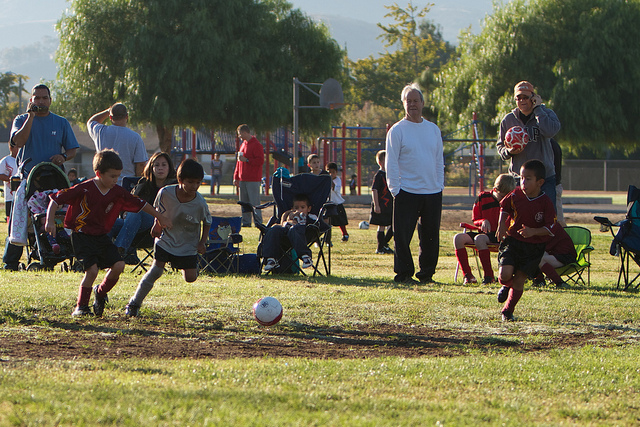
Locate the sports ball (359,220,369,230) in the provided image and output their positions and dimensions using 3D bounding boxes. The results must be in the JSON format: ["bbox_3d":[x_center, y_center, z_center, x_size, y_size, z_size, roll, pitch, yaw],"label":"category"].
[{"bbox_3d":[1.185,0.320,28.421,0.209,0.225,0.213,-14,-37,-10],"label":"sports ball"}]

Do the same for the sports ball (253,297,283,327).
[{"bbox_3d":[-0.822,1.588,17.067,0.411,0.473,0.417,3,-3,0],"label":"sports ball"}]

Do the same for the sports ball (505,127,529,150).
[{"bbox_3d":[3.615,-1.435,19.123,0.363,0.409,0.386,11,14,-3],"label":"sports ball"}]

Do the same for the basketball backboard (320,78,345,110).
[{"bbox_3d":[0.409,-3.611,31.269,0.693,0.933,0.766,-1,-3,6],"label":"basketball backboard"}]

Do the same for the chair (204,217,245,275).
[{"bbox_3d":[-1.965,0.665,20.224,0.799,1.356,0.907,0,-3,16],"label":"chair"}]

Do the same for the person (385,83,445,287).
[{"bbox_3d":[1.856,-0.539,19.662,0.992,3.728,0.853,-1,2,-11],"label":"person"}]

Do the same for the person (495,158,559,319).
[{"bbox_3d":[3.423,0.423,17.588,0.979,2.772,0.807,14,10,26],"label":"person"}]

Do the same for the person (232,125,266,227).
[{"bbox_3d":[-1.795,-0.964,25.656,0.762,2.471,0.711,3,4,30],"label":"person"}]
